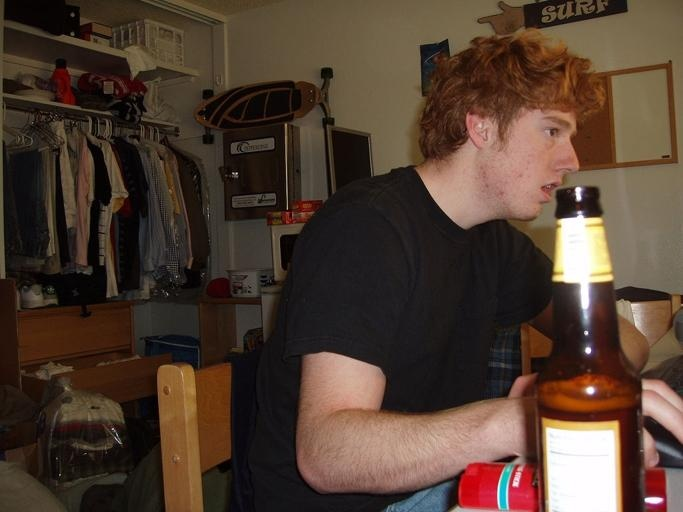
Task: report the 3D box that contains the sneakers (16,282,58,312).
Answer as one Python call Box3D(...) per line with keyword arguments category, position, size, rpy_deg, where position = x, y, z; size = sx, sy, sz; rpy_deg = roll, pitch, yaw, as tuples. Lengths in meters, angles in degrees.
Box3D(category="sneakers", position=(-1.750, 0.240, 3.328), size=(0.153, 0.143, 0.298), rpy_deg=(-1, 5, -21))

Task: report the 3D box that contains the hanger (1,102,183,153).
Box3D(category="hanger", position=(-1.664, -0.848, 3.940), size=(1.145, 0.298, 1.075), rpy_deg=(-4, 6, -19))
